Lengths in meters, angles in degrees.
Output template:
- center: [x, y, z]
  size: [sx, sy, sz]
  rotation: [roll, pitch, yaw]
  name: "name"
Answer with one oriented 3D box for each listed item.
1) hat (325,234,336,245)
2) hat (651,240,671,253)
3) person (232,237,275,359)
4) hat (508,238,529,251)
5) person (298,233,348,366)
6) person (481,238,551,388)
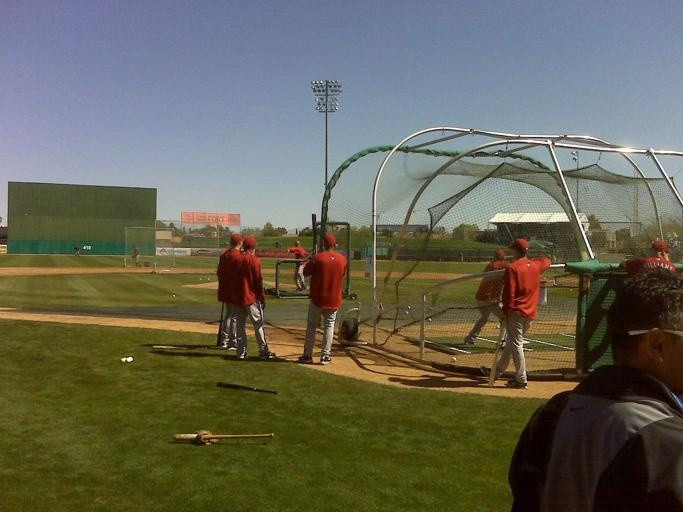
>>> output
- center: [-0.167, -0.251, 9.317]
  size: [0.145, 0.146, 0.171]
  rotation: [3, 13, 3]
  name: "hat"
- center: [4.057, -0.124, 7.458]
  size: [0.203, 0.208, 0.240]
  rotation: [2, 4, 17]
  name: "hat"
- center: [-1.389, 0.638, 9.499]
  size: [0.585, 1.830, 0.944]
  rotation: [2, 0, -7]
  name: "person"
- center: [2.370, -0.122, 7.904]
  size: [0.193, 0.119, 0.248]
  rotation: [2, 12, -8]
  name: "hat"
- center: [-0.289, 0.657, 9.569]
  size: [0.698, 1.938, 1.543]
  rotation: [2, 1, -1]
  name: "person"
- center: [2.236, 0.735, 7.671]
  size: [0.687, 1.800, 0.895]
  rotation: [2, -3, 45]
  name: "person"
